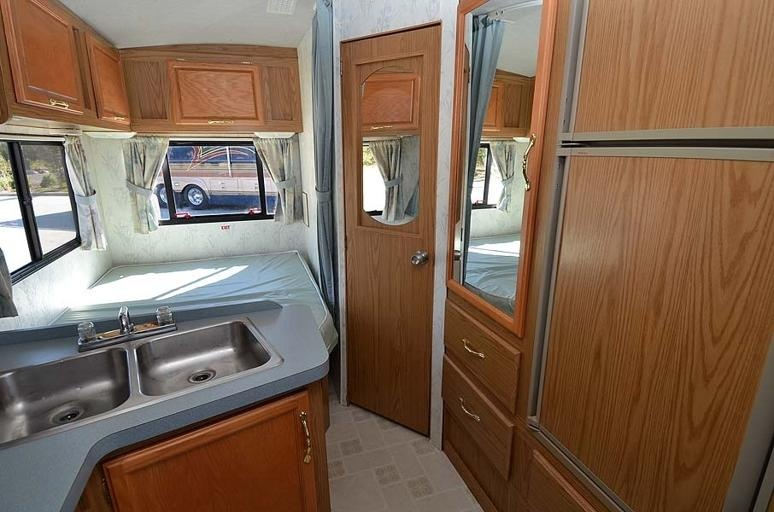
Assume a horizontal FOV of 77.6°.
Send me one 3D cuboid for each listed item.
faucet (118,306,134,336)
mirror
[{"bbox_3d":[-1.137,0.266,2.084,0.055,0.103,0.142,-12,17,-28],"label":"faucet"},{"bbox_3d":[0.013,-0.575,2.612,0.381,0.798,0.070,7,19,35],"label":"mirror"}]
